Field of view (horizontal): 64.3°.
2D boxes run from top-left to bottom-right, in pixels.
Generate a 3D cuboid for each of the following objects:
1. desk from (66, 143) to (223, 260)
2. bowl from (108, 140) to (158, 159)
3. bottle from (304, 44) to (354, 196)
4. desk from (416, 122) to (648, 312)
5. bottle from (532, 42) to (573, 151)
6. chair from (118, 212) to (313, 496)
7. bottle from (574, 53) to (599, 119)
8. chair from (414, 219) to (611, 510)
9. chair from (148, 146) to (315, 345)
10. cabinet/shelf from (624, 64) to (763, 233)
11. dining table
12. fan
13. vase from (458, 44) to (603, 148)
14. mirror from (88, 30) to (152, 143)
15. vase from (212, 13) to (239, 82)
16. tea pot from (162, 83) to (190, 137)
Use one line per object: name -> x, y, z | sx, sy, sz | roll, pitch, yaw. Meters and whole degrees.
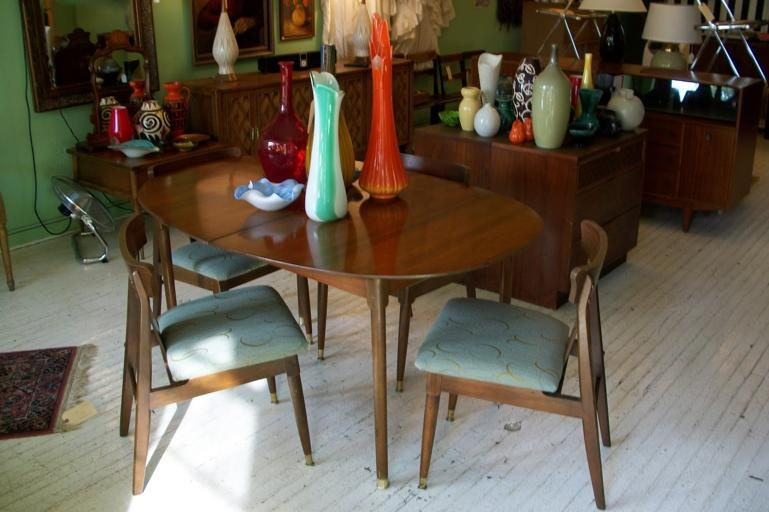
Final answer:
desk -> -1.981, -0.502, 4.670 | 0.626, 0.527, 0.511 | 14, 20, 15
bowl -> -1.817, -0.781, 4.441 | 0.248, 0.099, 0.183 | 6, 25, 9
bottle -> -0.291, -0.680, 3.088 | 0.308, 0.731, 0.274 | 10, 14, 43
desk -> 1.003, -0.538, 4.371 | 1.249, 1.185, 1.297 | 18, 29, 39
bottle -> 1.015, -0.962, 3.739 | 0.235, 0.608, 0.176 | 0, 22, 9
chair -> -0.835, 0.431, 2.923 | 0.828, 1.177, 0.658 | -8, 23, -24
bottle -> 1.343, -1.120, 4.082 | 0.128, 0.406, 0.151 | -20, 31, -29
chair -> 0.611, 0.498, 2.804 | 0.882, 1.177, 0.628 | 3, 23, 17
chair -> -0.767, -0.048, 3.078 | 0.632, 1.041, 0.666 | -26, 40, -38
cabinet/shelf -> 2.399, -0.824, 4.817 | 1.004, 1.099, 0.564 | 20, 30, 39
dining table -> 0.071, 0.094, 3.407 | 1.025, 0.888, 1.700 | -6, 26, -18
fan -> -2.277, -0.262, 4.596 | 0.265, 0.455, 0.436 | -17, 40, -33
vase -> 0.994, -1.104, 4.053 | 0.791, 0.869, 0.515 | 5, 24, 18
mirror -> -2.040, -1.273, 4.674 | 0.147, 0.787, 0.642 | 21, 35, 26
vase -> -1.321, -1.720, 5.033 | 0.199, 0.507, 0.252 | -10, 23, -15
tea pot -> -1.629, -1.124, 4.778 | 0.218, 0.411, 0.194 | 11, 20, 21
